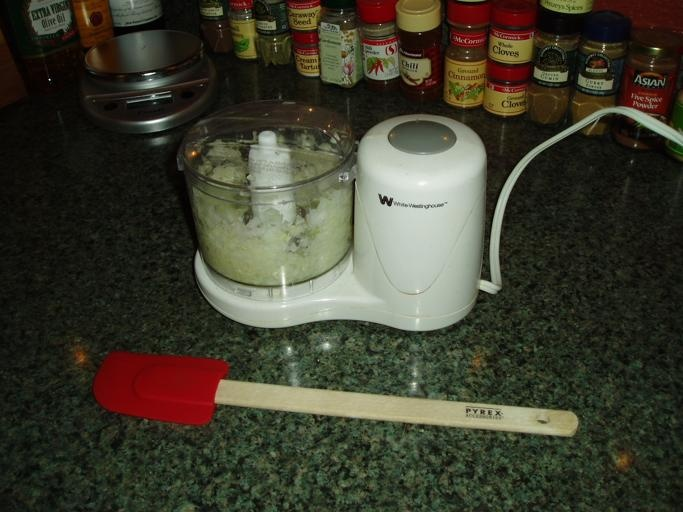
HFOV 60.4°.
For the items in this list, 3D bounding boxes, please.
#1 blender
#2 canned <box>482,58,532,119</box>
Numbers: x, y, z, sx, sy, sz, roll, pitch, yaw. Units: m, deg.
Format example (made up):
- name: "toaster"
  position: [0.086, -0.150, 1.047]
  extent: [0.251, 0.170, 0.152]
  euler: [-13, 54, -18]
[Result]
- name: "blender"
  position: [-0.003, -0.082, 0.809]
  extent: [0.447, 0.265, 0.234]
  euler: [9, 42, 7]
- name: "canned"
  position: [0.312, -0.330, 1.130]
  extent: [0.095, 0.100, 0.092]
  euler: [-15, 33, -18]
